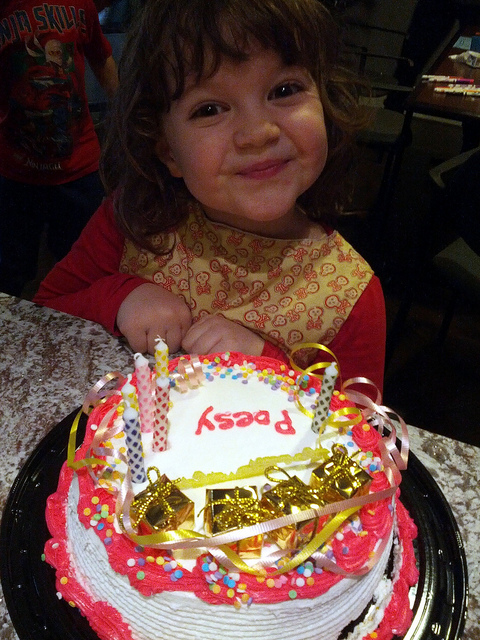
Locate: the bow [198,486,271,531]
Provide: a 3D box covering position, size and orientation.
[{"bbox_3d":[0.001,0.257,0.706,0.059,0.036,0.037,-5,31,-15],"label":"bow"}]

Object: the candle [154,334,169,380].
[{"bbox_3d":[-0.136,0.066,0.902,0.024,0.085,0.023,11,50,4],"label":"candle"}]
